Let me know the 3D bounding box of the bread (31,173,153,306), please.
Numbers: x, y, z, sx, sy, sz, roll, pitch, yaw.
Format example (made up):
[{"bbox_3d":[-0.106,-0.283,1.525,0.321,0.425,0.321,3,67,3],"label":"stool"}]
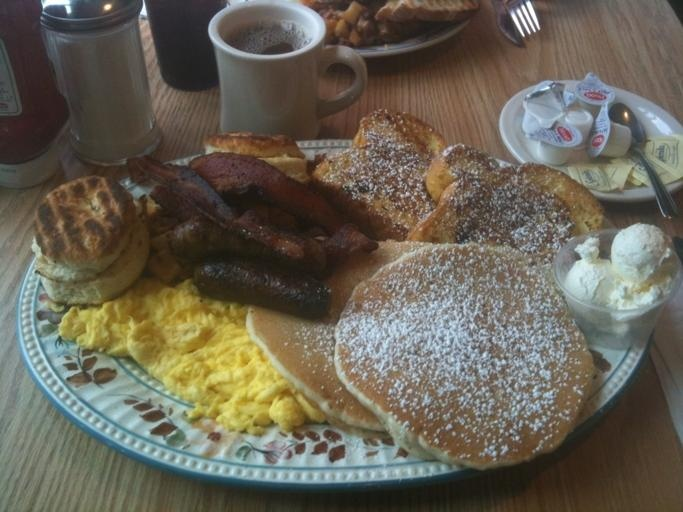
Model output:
[{"bbox_3d":[-0.555,-0.042,1.420,0.225,0.160,0.272,21,45,4],"label":"bread"}]
